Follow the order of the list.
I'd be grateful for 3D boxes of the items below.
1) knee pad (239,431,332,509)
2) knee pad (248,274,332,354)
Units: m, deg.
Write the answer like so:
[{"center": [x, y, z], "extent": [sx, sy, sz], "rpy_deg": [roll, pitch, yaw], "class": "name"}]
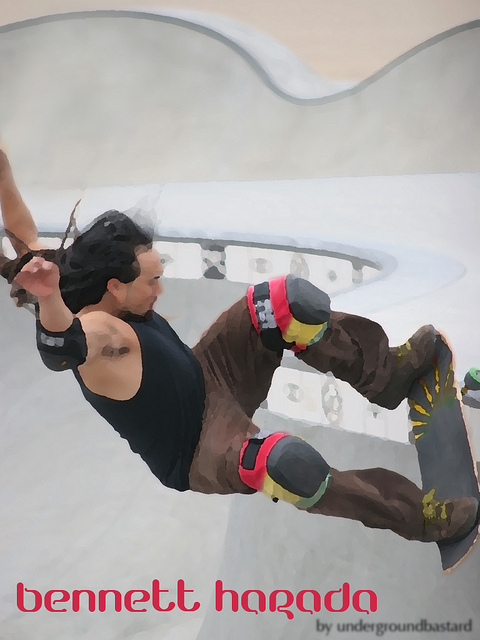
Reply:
[{"center": [0.068, 0.230, 1.126], "extent": [0.135, 0.097, 0.095], "rpy_deg": [21, -8, 7], "class": "knee pad"}, {"center": [0.100, -0.021, 1.253], "extent": [0.146, 0.125, 0.170], "rpy_deg": [12, 35, 0], "class": "knee pad"}]
